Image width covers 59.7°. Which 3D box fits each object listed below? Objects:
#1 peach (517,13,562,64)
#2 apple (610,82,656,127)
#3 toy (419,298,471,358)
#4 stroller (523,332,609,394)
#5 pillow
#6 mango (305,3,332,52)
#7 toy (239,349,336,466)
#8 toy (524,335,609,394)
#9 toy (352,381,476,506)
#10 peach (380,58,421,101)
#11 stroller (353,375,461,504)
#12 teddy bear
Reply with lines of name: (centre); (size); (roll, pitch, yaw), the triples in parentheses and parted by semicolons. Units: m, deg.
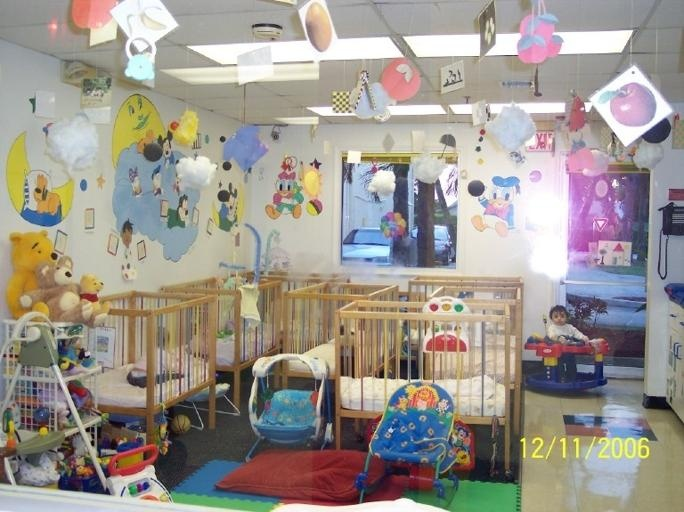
peach: (1.170, -1.271, 3.502); (0.223, 0.327, 0.151); (-7, 13, -2)
apple: (1.629, -0.810, 3.322); (0.196, 0.254, 0.162); (2, 2, 10)
toy: (0.823, 0.568, 4.697); (0.454, 0.570, 0.291); (0, -4, 3)
stroller: (1.902, 0.940, 5.056); (0.517, 0.389, 0.416); (-2, -1, 35)
pillow: (-0.291, 1.577, 4.272); (0.654, 0.107, 0.515); (3, 4, 14)
mango: (-0.151, -1.448, 3.795); (0.112, 0.276, 0.202); (0, 1, 41)
toy: (-0.404, 1.185, 4.703); (0.628, 0.736, 0.744); (-1, -6, 9)
toy: (1.902, 0.954, 5.063); (0.517, 0.387, 0.413); (-2, 0, 36)
toy: (0.498, 1.239, 4.140); (0.621, 0.731, 0.745); (2, 4, 19)
peach: (0.431, -1.284, 4.268); (0.206, 0.368, 0.313); (0, 1, 39)
stroller: (0.486, 1.168, 4.139); (0.610, 0.729, 0.742); (1, 2, 18)
teddy bear: (-2.056, 0.151, 4.598); (0.671, 0.740, 0.661); (-11, -6, 23)
